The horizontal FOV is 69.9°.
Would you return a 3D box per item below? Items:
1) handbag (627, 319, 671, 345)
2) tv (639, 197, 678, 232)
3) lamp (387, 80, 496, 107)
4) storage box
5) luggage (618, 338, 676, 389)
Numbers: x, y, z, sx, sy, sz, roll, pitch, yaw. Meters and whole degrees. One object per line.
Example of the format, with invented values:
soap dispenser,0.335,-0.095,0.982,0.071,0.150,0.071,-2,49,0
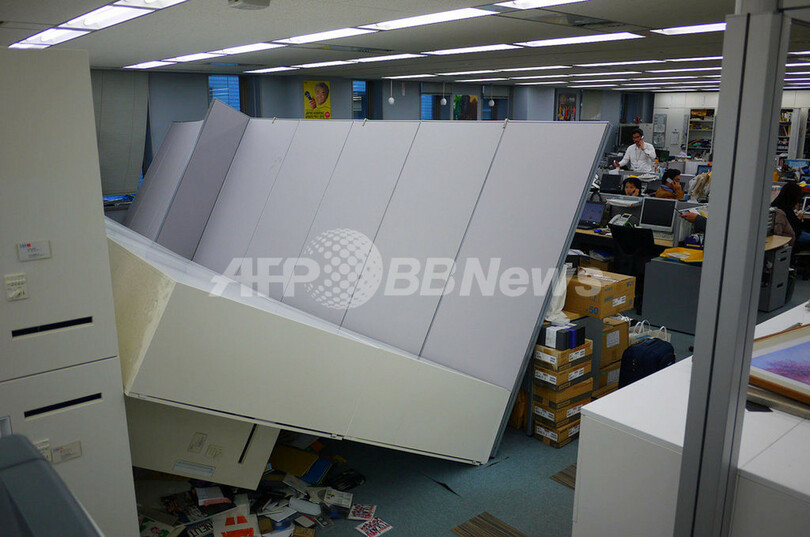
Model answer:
handbag,2.710,0.707,6.377,0.345,0.350,0.206,-10,23,-23
tv,3.702,-0.761,8.373,0.459,0.465,0.040,30,20,38
lamp,1.373,-4.880,16.276,3.933,0.757,0.349,-6,13,-41
storage box,1.431,0.755,4.785,0.696,1.456,1.366,20,14,28
luggage,2.151,0.875,5.110,0.424,0.447,0.379,5,10,12
